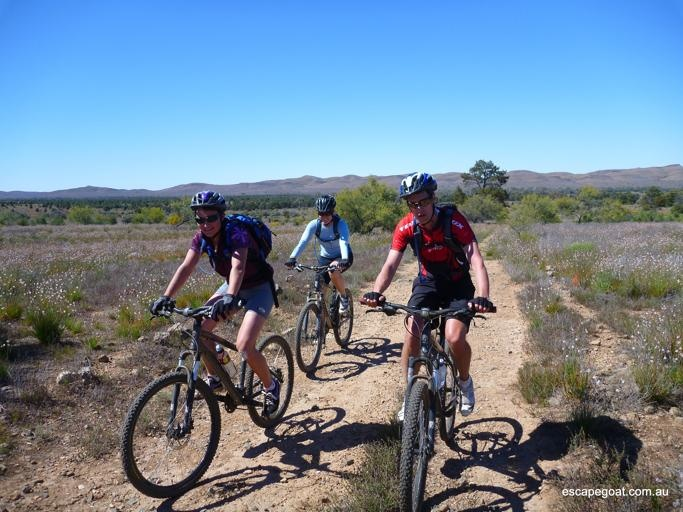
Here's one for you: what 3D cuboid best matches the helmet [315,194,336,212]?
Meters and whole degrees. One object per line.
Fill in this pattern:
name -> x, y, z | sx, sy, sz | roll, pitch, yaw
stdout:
helmet -> -0.298, -0.972, 9.212 | 0.370, 0.334, 0.411 | -3, 6, -3

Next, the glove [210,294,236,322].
glove -> -1.558, 0.676, 6.568 | 0.238, 0.139, 0.348 | 4, 11, 29

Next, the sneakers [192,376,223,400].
sneakers -> -1.922, 1.839, 6.961 | 0.189, 0.299, 0.630 | -5, -19, 19

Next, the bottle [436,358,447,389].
bottle -> 1.315, 1.562, 6.467 | 0.103, 0.495, 0.104 | 2, 7, 0

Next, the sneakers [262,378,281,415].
sneakers -> -1.059, 2.132, 7.502 | 0.173, 0.658, 0.228 | -1, 6, 10

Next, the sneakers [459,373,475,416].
sneakers -> 1.743, 1.951, 6.858 | 0.170, 0.614, 0.229 | -8, -22, 36

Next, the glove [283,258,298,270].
glove -> -1.107, 0.184, 10.780 | 0.324, 0.222, 0.501 | 0, -1, -2

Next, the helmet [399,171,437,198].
helmet -> 0.999, -0.937, 6.540 | 0.466, 0.310, 0.526 | -2, 7, 11

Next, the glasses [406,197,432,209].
glasses -> 1.058, -0.706, 6.663 | 0.323, 0.140, 0.171 | -2, 7, 10

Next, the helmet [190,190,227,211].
helmet -> -1.907, -0.775, 7.033 | 0.422, 0.289, 0.335 | -2, 6, 5
